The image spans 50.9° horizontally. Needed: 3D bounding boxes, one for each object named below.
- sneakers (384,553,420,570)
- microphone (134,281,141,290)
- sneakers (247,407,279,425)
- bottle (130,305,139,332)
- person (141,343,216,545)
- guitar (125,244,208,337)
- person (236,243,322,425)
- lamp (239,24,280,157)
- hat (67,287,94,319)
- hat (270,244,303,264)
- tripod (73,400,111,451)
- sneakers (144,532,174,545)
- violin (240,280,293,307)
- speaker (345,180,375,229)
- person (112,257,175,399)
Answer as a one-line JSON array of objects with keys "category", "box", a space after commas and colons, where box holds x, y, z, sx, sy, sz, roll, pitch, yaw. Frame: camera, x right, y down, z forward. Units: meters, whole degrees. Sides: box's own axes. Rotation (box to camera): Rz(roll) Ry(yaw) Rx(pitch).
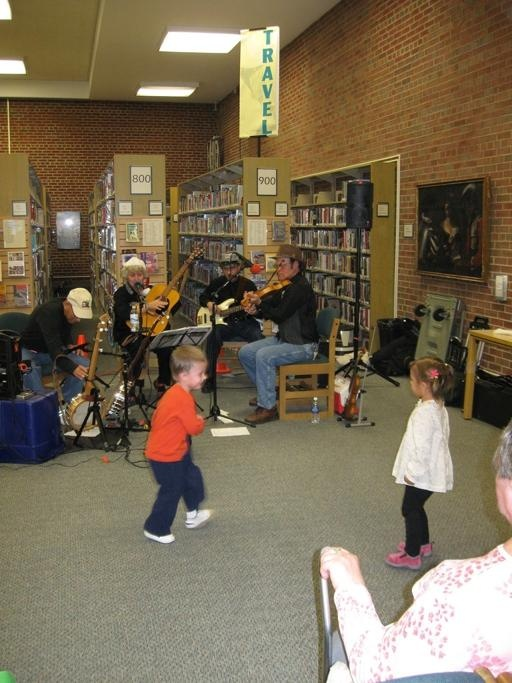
[{"category": "sneakers", "box": [0.714, 1.054, 2.639, 0.173, 0.076, 0.063, 8, 21, 11]}, {"category": "microphone", "box": [-1.180, -0.566, 5.369, 0.066, 0.061, 0.066, 1, -1, -24]}, {"category": "sneakers", "box": [0.073, 0.648, 4.866, 0.314, 0.136, 0.110, -5, 18, -30]}, {"category": "bottle", "box": [-1.084, -0.215, 4.811, 0.088, 0.251, 0.260, -2, 9, -13]}, {"category": "person", "box": [-0.434, 0.542, 2.859, 0.350, 1.058, 0.325, -1, 9, -7]}, {"category": "guitar", "box": [-0.846, -0.506, 5.330, 0.472, 1.205, 0.182, 37, -17, -10]}, {"category": "person", "box": [0.206, -0.092, 4.965, 0.737, 1.575, 0.706, 0, 9, 2]}, {"category": "lamp", "box": [0.043, -3.210, 6.683, 0.469, 1.301, 0.309, 0, 9, -3]}, {"category": "hat", "box": [-1.415, -0.278, 4.407, 0.192, 0.155, 0.283, -4, 53, -43]}, {"category": "hat", "box": [0.321, -0.814, 5.021, 0.203, 0.085, 0.165, 8, 2, -22]}, {"category": "tripod", "box": [-1.310, 0.613, 4.257, 0.277, 0.469, 0.517, -3, 10, -19]}, {"category": "sneakers", "box": [-0.511, 1.031, 2.883, 0.162, 0.063, 0.058, 4, 3, 13]}, {"category": "violin", "box": [0.099, -0.487, 5.310, 0.469, 0.122, 0.223, -25, -1, -13]}, {"category": "speaker", "box": [0.967, -1.281, 5.055, 0.226, 0.450, 0.253, 1, 9, 8]}, {"category": "person", "box": [-1.128, -0.098, 5.304, 0.603, 1.406, 0.213, 3, -11, -40]}]
